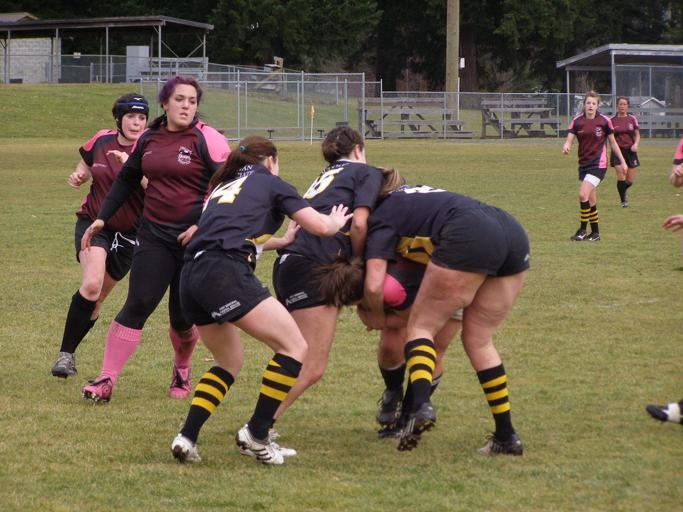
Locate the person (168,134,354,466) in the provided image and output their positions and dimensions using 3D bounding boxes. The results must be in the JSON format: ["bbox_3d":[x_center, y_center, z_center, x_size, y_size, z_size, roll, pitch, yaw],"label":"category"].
[{"bbox_3d":[-0.707,0.347,6.634,1.053,2.282,0.816,-1,14,-3],"label":"person"}]

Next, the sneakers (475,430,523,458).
[{"bbox_3d":[1.200,1.442,6.838,0.377,0.174,0.144,0,2,19],"label":"sneakers"}]

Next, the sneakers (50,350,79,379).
[{"bbox_3d":[-2.442,0.976,7.944,0.117,0.163,0.321,0,-6,-3],"label":"sneakers"}]

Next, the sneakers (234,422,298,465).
[{"bbox_3d":[-0.555,1.419,6.677,0.542,0.268,0.203,24,34,-31],"label":"sneakers"}]

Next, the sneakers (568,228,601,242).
[{"bbox_3d":[3.623,-0.321,13.469,0.486,0.220,0.176,4,0,-18],"label":"sneakers"}]

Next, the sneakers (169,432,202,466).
[{"bbox_3d":[-1.135,1.413,6.543,0.131,0.139,0.282,6,12,-15],"label":"sneakers"}]

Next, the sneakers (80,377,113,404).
[{"bbox_3d":[-2.023,1.134,7.490,0.248,0.227,0.221,-7,16,-24],"label":"sneakers"}]
